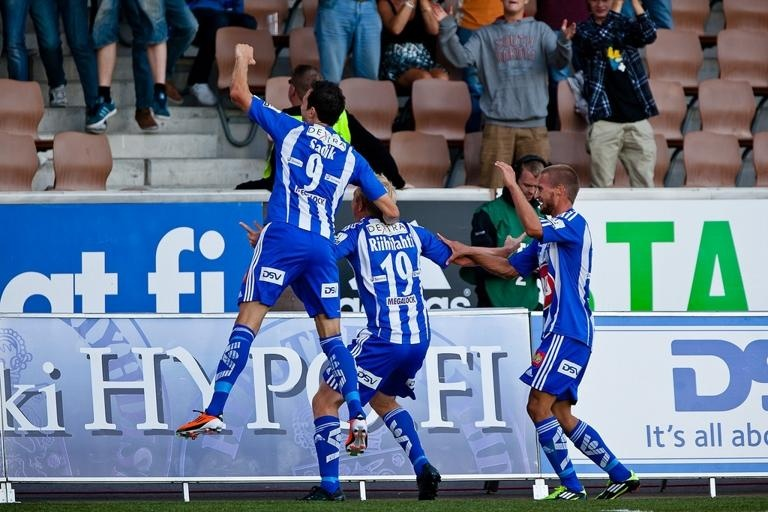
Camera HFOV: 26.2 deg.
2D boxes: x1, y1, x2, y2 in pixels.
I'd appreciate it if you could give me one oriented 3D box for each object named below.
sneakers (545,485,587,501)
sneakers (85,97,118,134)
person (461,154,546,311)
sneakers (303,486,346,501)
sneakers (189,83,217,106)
[{"bbox_3d":[1.716,2.237,15.500,0.433,0.187,0.148,4,-9,1],"label":"sneakers"},{"bbox_3d":[-3.198,-1.546,18.643,0.199,0.523,0.244,26,-24,8],"label":"sneakers"},{"bbox_3d":[1.306,0.079,16.743,0.879,2.059,0.596,-2,8,-27],"label":"person"},{"bbox_3d":[-0.553,2.189,15.346,0.425,0.171,0.143,2,-7,-2],"label":"sneakers"},{"bbox_3d":[-2.124,-1.888,19.385,0.195,0.315,0.123,-43,15,-7],"label":"sneakers"}]
